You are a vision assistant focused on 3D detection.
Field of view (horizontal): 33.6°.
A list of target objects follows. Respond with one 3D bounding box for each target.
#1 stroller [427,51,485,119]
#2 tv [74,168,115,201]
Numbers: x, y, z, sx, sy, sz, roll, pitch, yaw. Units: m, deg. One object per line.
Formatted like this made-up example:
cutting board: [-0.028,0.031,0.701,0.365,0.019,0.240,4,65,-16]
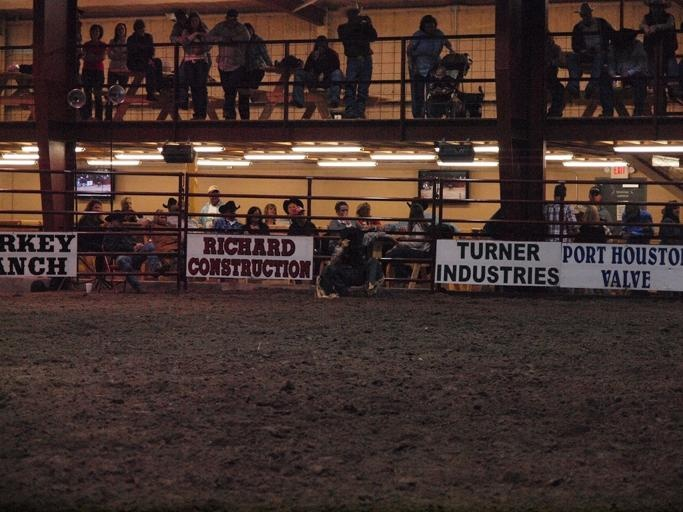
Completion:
stroller: [2.325,-3.518,23.515,1.172,1.400,0.866,1,2,4]
tv: [-6.346,-1.868,29.143,1.198,0.997,0.170,4,7,24]
